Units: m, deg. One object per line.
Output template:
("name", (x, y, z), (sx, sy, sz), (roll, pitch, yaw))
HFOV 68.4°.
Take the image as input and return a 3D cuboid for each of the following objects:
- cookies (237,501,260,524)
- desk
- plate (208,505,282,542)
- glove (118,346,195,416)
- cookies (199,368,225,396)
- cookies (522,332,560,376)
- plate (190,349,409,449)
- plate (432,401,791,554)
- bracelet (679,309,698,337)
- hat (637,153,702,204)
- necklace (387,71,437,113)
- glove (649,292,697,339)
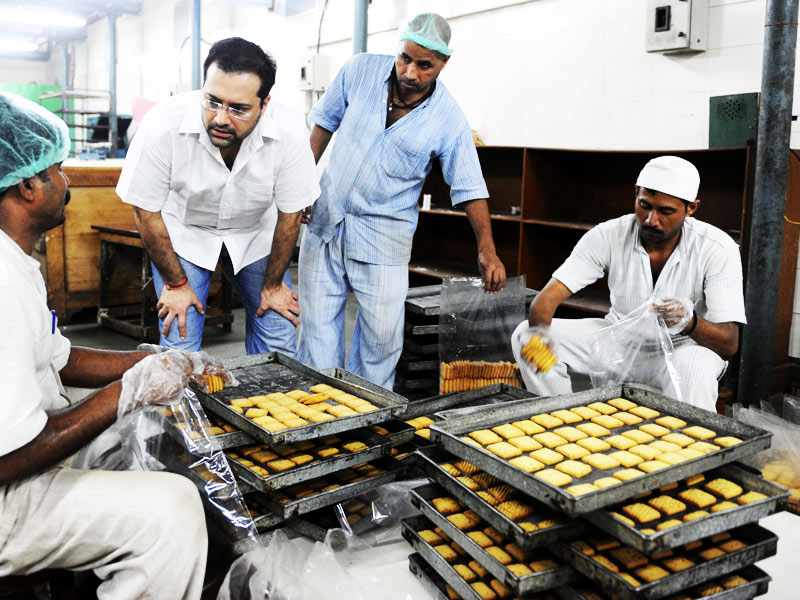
("cookies", (-0.450, 0.626, 1.759), (0.016, 0.060, 0.064), (-41, 26, -11))
("desk", (-2.164, -0.105, 5.178), (0.836, 0.812, 0.938), (12, -7, 11))
("plate", (-0.444, 0.644, 1.720), (0.138, 0.036, 0.144), (-2, 8, -35))
("glove", (-0.684, 0.235, 1.773), (0.140, 0.091, 0.286), (16, 14, 14))
("cookies", (-0.607, 0.265, 1.914), (0.032, 0.059, 0.074), (-18, -16, 39))
("cookies", (0.625, 0.236, 2.675), (0.134, 0.200, 0.077), (-32, -5, 7))
("plate", (-0.332, 0.291, 1.954), (0.551, 0.055, 0.384), (18, 13, 24))
("plate", (0.573, 0.381, 1.696), (0.700, 0.099, 0.735), (-9, 3, -23))
("bracelet", (1.199, 0.097, 2.474), (0.061, 0.114, 0.086), (14, 3, -3))
("hat", (1.162, -0.485, 2.525), (0.217, 0.131, 0.213), (5, 20, -37))
("necklace", (0.054, -0.966, 2.705), (0.225, 0.189, 0.193), (0, 12, 2))
("glove", (1.124, 0.060, 2.431), (0.170, 0.127, 0.082), (23, 7, 0))
